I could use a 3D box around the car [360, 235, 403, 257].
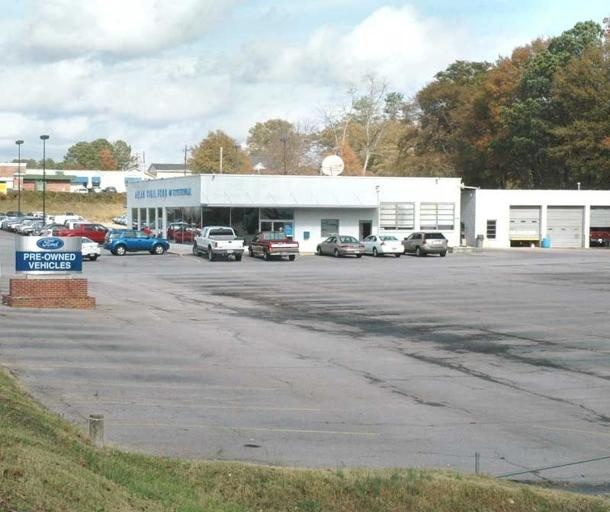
[{"bbox_3d":[4.194,-0.501,76.112,1.517,1.145,2.870,-1,1,-18],"label":"car"}]

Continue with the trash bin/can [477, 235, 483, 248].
[{"bbox_3d":[10.749,-0.868,85.652,0.382,0.798,1.234,-1,1,6],"label":"trash bin/can"}]

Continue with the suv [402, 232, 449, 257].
[{"bbox_3d":[6.588,-0.649,76.413,1.188,0.870,2.456,0,6,-13],"label":"suv"}]

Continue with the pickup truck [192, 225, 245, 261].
[{"bbox_3d":[-4.442,-0.627,70.568,1.349,1.105,2.836,-1,8,-19],"label":"pickup truck"}]

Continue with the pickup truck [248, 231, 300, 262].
[{"bbox_3d":[-1.710,-0.465,71.007,1.231,0.902,2.533,-1,7,-20],"label":"pickup truck"}]

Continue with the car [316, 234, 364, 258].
[{"bbox_3d":[1.967,-0.476,74.669,1.061,0.752,2.278,0,6,-21],"label":"car"}]
